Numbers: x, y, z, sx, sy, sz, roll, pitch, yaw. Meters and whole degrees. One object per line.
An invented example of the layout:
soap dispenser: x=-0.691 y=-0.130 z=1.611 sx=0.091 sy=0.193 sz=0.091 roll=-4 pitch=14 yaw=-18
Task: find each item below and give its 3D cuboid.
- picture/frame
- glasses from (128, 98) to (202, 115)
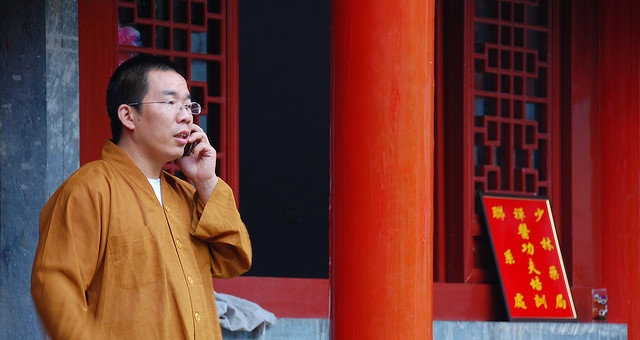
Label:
picture/frame: x=1.862 y=0.798 z=9.977 sx=0.864 sy=1.120 sz=0.130 roll=3 pitch=-8 yaw=-18
glasses: x=-1.073 y=-0.450 z=7.953 sx=0.232 sy=0.059 sz=0.214 roll=-11 pitch=-11 yaw=23
